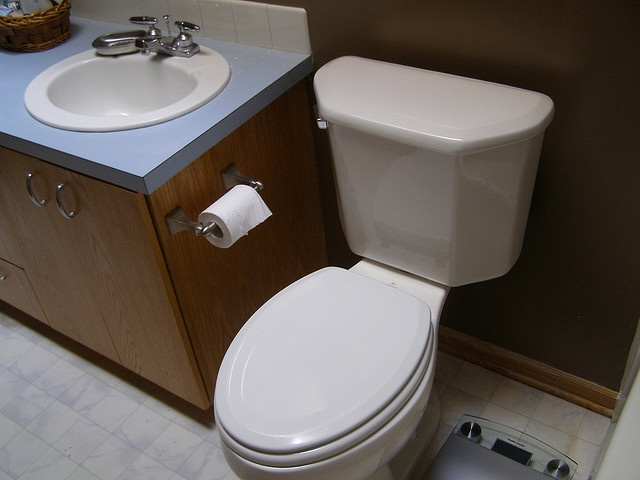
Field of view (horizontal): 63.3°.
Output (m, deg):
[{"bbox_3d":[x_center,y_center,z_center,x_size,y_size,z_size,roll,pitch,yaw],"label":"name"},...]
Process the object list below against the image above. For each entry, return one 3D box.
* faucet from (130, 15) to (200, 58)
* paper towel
[{"bbox_3d":[-0.402,-0.554,1.422,0.199,0.095,0.084,7,45,11],"label":"faucet"},{"bbox_3d":[-0.231,-0.040,1.249,0.112,0.086,0.125,-25,8,23],"label":"paper towel"}]
